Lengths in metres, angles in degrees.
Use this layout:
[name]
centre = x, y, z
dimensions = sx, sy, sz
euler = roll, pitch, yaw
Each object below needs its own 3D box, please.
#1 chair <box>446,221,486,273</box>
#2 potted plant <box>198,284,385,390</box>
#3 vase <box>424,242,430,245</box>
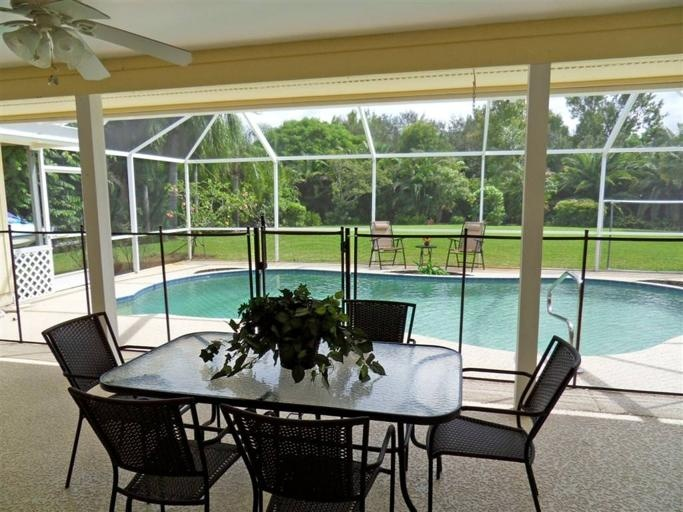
[chair]
centre = 2.670, -0.206, 10.226
dimensions = 0.689, 0.960, 0.831
euler = 2, 10, 30
[potted plant]
centre = -0.290, 0.426, 2.866
dimensions = 1.064, 0.402, 0.616
euler = 2, 7, -7
[vase]
centre = 1.742, -0.245, 9.599
dimensions = 0.134, 0.096, 0.118
euler = 0, 1, -8
